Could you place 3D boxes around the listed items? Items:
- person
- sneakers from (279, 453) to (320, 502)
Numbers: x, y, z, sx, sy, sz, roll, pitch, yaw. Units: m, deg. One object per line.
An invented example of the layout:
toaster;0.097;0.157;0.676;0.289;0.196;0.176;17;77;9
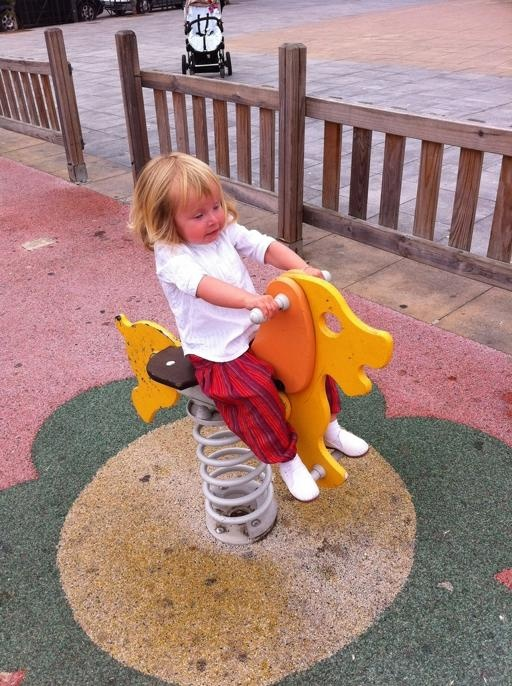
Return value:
person;0.000;0.084;1.884;0.445;1.313;0.739;-21;37;-27
sneakers;0.134;0.421;1.811;0.090;0.057;0.155;-29;62;-6
